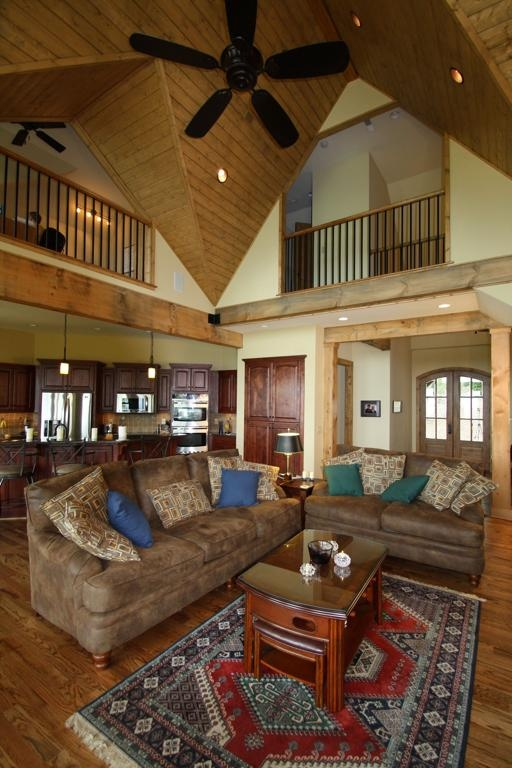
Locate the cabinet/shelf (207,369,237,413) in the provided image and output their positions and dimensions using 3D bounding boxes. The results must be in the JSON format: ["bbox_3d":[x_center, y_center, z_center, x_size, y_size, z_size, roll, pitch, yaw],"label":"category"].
[{"bbox_3d":[-0.635,0.129,9.217,0.740,0.759,0.398,-2,-5,30],"label":"cabinet/shelf"}]

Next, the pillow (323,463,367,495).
[{"bbox_3d":[0.858,0.910,4.780,0.266,0.115,0.288,-5,40,0],"label":"pillow"}]

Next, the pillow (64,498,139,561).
[{"bbox_3d":[-0.898,0.858,2.880,0.345,0.334,0.307,3,5,33],"label":"pillow"}]

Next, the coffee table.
[{"bbox_3d":[0.368,1.296,2.944,0.609,0.546,1.070,6,6,30],"label":"coffee table"}]

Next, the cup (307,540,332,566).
[{"bbox_3d":[0.384,1.001,2.969,0.122,0.088,0.126,0,-7,0],"label":"cup"}]

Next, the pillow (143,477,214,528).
[{"bbox_3d":[-0.605,0.903,3.833,0.118,0.260,0.436,-34,-14,29],"label":"pillow"}]

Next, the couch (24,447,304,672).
[{"bbox_3d":[-0.524,1.034,3.755,0.823,0.950,2.249,2,1,31],"label":"couch"}]

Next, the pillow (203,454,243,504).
[{"bbox_3d":[-0.294,0.817,4.339,0.356,0.346,0.104,14,-24,-43],"label":"pillow"}]

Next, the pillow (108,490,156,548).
[{"bbox_3d":[-0.891,0.903,3.389,0.313,0.390,0.606,-9,-4,-19],"label":"pillow"}]

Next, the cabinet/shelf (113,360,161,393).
[{"bbox_3d":[-2.043,0.061,8.313,0.836,0.653,0.440,0,-3,-10],"label":"cabinet/shelf"}]
